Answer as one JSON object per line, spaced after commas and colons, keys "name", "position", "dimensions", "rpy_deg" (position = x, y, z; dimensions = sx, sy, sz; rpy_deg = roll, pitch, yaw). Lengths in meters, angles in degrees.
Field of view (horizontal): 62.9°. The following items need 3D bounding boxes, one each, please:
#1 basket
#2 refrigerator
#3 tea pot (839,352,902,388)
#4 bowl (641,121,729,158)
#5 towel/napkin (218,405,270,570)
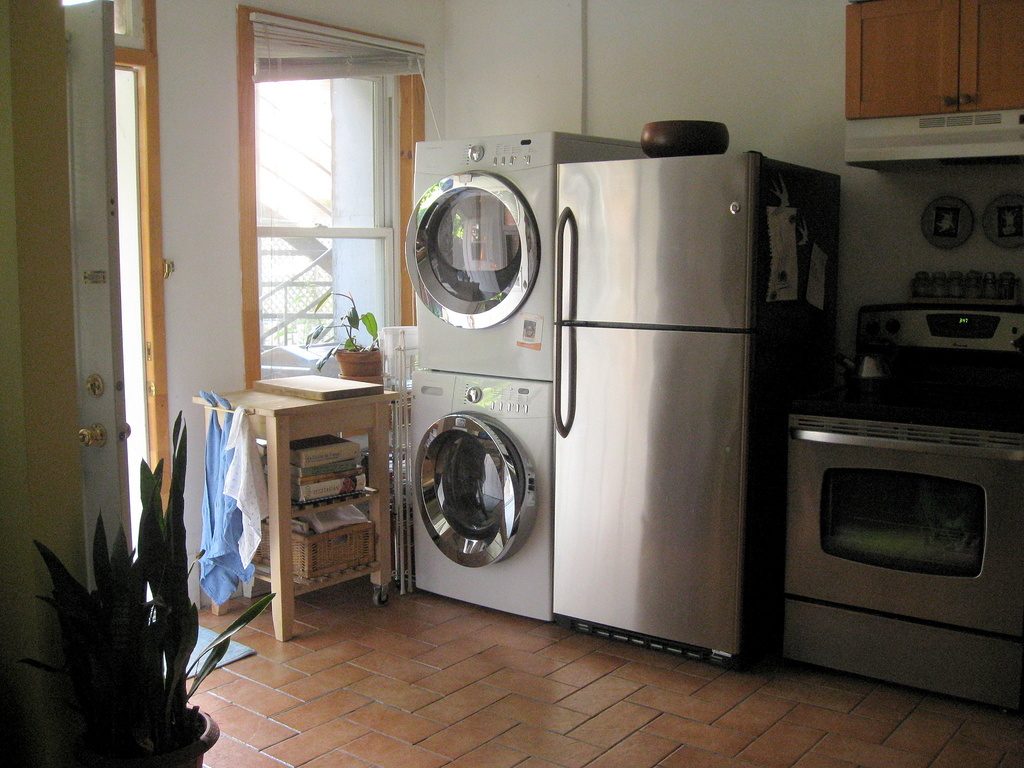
{"name": "basket", "position": [-0.854, 0.641, 3.725], "dimensions": [0.367, 0.229, 0.369], "rpy_deg": [-5, 8, -27]}
{"name": "refrigerator", "position": [0.726, 0.096, 3.401], "dimensions": [1.117, 1.983, 0.657], "rpy_deg": [1, 11, 8]}
{"name": "tea pot", "position": [1.456, -0.064, 3.427], "dimensions": [0.208, 0.135, 0.229], "rpy_deg": [8, 14, 37]}
{"name": "bowl", "position": [0.690, -0.981, 3.331], "dimensions": [0.236, 0.093, 0.237], "rpy_deg": [-2, 7, 0]}
{"name": "towel/napkin", "position": [-1.095, 0.432, 3.439], "dimensions": [0.171, 0.666, 0.186], "rpy_deg": [-4, 11, -17]}
